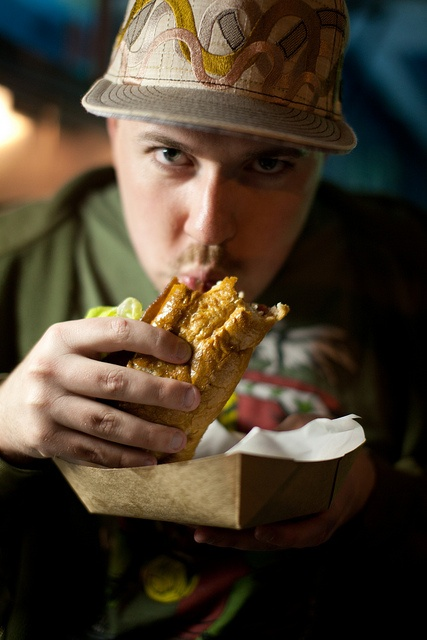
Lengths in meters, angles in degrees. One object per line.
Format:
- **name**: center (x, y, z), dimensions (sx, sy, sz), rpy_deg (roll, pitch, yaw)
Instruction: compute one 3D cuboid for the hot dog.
- **hot dog**: center (-0.026, 0.045, 1.146), dimensions (0.376, 0.121, 0.356), rpy_deg (32, 100, 1)
